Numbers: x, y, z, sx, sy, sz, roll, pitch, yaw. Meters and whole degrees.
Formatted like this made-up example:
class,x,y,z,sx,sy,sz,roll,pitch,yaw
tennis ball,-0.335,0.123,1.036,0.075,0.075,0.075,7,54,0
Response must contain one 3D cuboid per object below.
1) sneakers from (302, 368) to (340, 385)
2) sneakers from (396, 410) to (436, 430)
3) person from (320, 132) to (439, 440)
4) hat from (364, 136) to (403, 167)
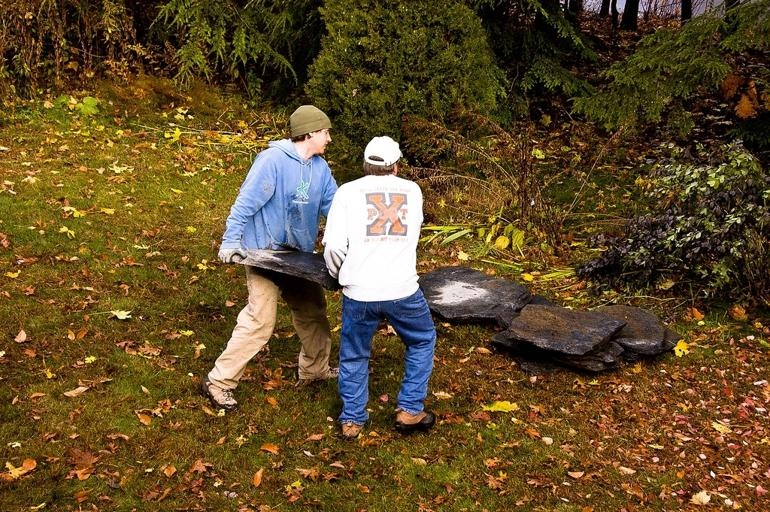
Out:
class,x,y,z,sx,sy,sz,roll,pitch,yaw
sneakers,-0.803,1.557,9.656,0.581,0.243,0.199,-21,-17,39
sneakers,0.375,2.001,9.034,0.499,0.225,0.204,-9,63,-18
person,-0.037,0.442,8.699,1.510,3.351,1.115,12,24,11
hat,-0.022,-1.201,8.596,0.404,0.293,0.257,6,24,-3
